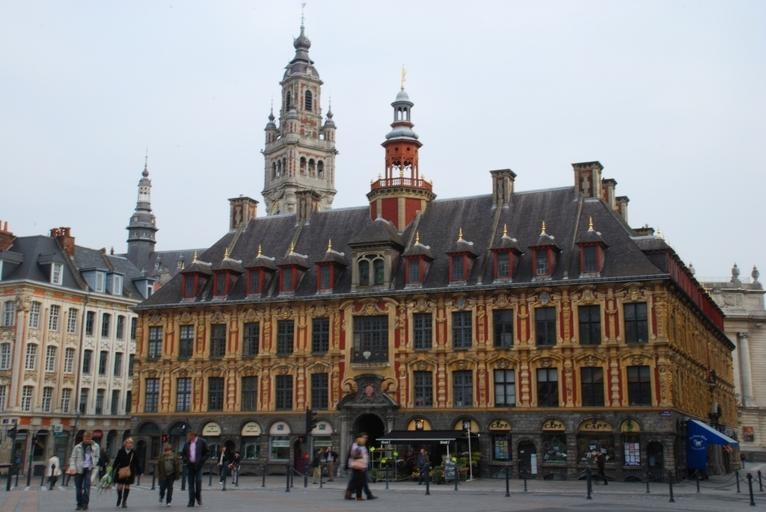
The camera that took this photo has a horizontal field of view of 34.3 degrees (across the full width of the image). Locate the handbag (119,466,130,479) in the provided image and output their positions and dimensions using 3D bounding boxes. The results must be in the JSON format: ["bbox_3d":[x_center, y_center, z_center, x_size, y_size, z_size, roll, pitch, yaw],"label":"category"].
[{"bbox_3d":[-14.766,12.326,70.835,0.706,0.612,0.247,-3,-16,-4],"label":"handbag"}]

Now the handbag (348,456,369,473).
[{"bbox_3d":[-1.414,12.179,72.814,0.703,0.887,0.886,2,0,-3],"label":"handbag"}]
